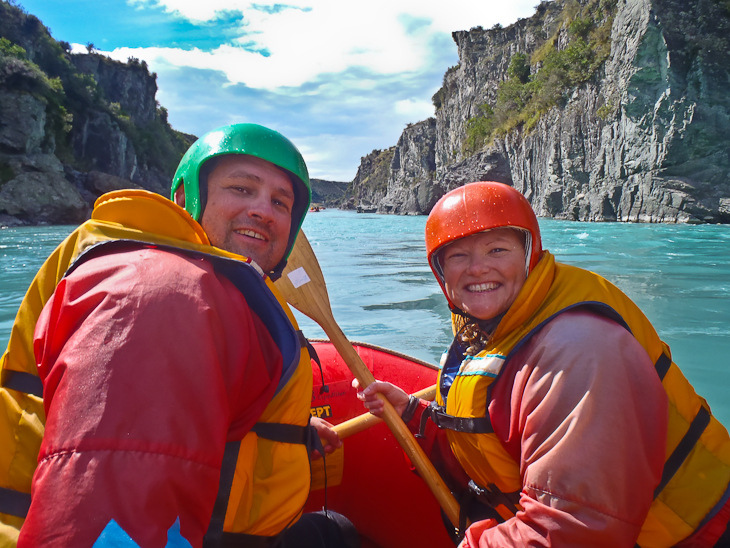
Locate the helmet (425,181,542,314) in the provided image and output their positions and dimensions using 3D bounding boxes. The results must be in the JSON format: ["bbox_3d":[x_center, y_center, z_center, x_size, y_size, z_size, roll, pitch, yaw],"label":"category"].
[{"bbox_3d":[0.442,-0.150,2.393,0.344,0.409,0.439,-13,4,32],"label":"helmet"}]
